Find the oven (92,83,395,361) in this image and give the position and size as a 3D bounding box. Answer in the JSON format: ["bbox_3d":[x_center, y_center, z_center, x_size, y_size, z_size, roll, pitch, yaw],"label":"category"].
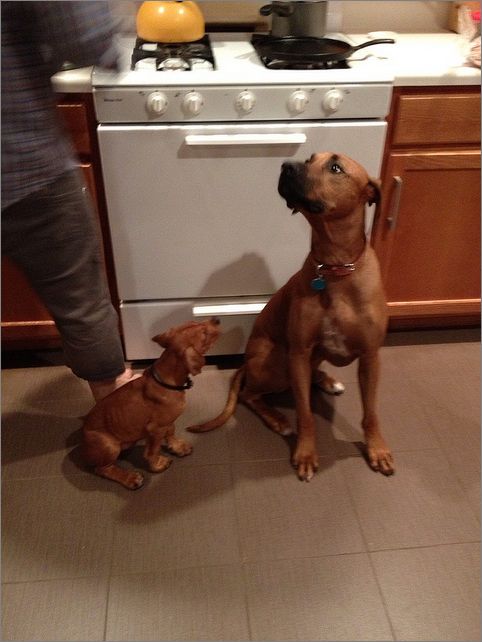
[{"bbox_3d":[0.129,-0.406,1.869,0.962,0.951,0.670,-3,36,-4],"label":"oven"}]

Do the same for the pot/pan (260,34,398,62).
[{"bbox_3d":[0.257,-0.875,1.647,0.360,0.045,0.199,-2,29,-11],"label":"pot/pan"}]

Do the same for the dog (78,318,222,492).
[{"bbox_3d":[-0.256,0.227,1.401,0.398,0.394,0.200,-5,24,-14],"label":"dog"}]

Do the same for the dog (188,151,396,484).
[{"bbox_3d":[0.109,0.052,1.411,0.590,0.935,0.530,-7,46,0],"label":"dog"}]
